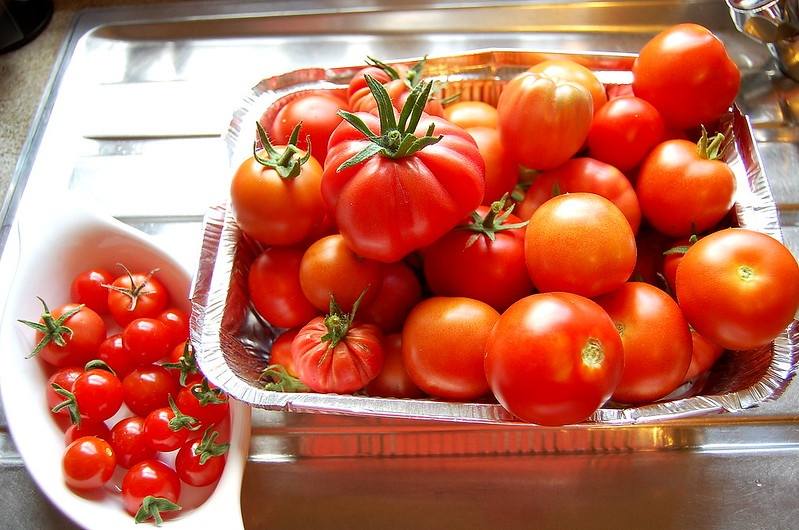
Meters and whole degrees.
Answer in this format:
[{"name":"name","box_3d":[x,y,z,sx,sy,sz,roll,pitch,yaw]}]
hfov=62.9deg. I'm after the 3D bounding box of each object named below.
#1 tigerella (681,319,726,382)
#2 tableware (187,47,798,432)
[{"name":"tigerella","box_3d":[0.482,0.140,1.086,0.087,0.086,0.083,-4,77,-6]},{"name":"tableware","box_3d":[0.149,-0.023,1.041,0.739,0.193,0.534,1,74,0]}]
